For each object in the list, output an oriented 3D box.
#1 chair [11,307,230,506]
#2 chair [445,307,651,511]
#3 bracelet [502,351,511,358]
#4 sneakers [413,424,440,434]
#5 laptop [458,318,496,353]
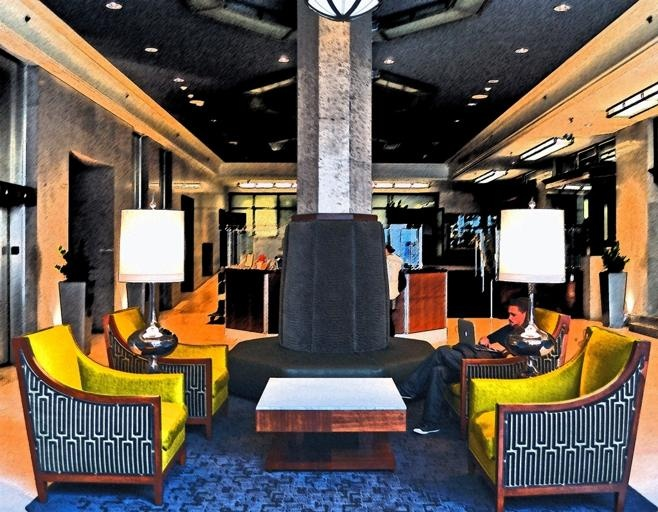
[{"bbox_3d":[-1.448,0.997,3.677,0.921,1.065,1.060,0,5,6],"label":"chair"},{"bbox_3d":[1.523,1.018,3.815,1.351,1.380,1.054,1,-3,0],"label":"chair"},{"bbox_3d":[1.518,0.839,4.308,0.034,0.035,0.091,-1,5,10],"label":"bracelet"},{"bbox_3d":[0.806,1.429,4.221,0.242,0.080,0.081,2,0,-9],"label":"sneakers"},{"bbox_3d":[1.312,0.722,4.551,0.289,0.248,0.389,-5,7,-31],"label":"laptop"}]
